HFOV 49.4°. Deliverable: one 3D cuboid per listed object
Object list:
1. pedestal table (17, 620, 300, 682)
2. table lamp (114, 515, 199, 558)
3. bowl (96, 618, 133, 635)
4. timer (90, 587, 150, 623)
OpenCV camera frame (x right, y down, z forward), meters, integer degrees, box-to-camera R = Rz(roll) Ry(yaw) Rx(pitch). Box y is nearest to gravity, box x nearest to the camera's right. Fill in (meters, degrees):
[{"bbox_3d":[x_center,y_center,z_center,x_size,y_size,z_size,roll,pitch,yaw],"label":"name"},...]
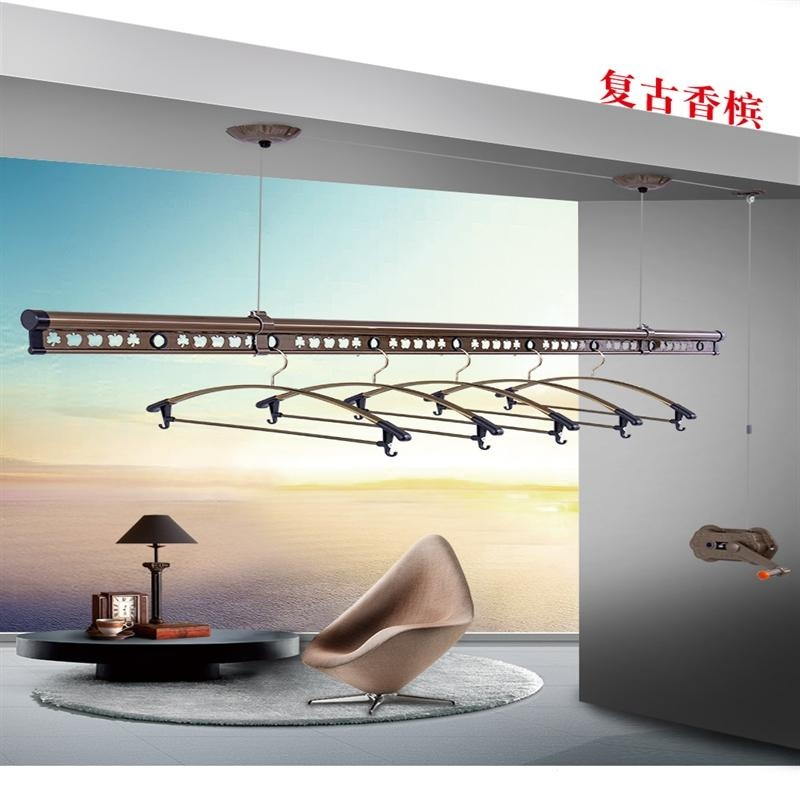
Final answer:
[{"bbox_3d":[-1.529,1.645,5.494,1.751,0.326,0.596,3,1,-4],"label":"pedestal table"},{"bbox_3d":[-1.617,0.881,5.922,0.569,0.176,0.400,0,-3,-4],"label":"table lamp"},{"bbox_3d":[-1.835,1.448,5.607,0.199,0.054,0.122,2,-10,0],"label":"bowl"},{"bbox_3d":[-1.840,1.377,5.764,0.360,0.205,0.271,4,1,-12],"label":"timer"}]
